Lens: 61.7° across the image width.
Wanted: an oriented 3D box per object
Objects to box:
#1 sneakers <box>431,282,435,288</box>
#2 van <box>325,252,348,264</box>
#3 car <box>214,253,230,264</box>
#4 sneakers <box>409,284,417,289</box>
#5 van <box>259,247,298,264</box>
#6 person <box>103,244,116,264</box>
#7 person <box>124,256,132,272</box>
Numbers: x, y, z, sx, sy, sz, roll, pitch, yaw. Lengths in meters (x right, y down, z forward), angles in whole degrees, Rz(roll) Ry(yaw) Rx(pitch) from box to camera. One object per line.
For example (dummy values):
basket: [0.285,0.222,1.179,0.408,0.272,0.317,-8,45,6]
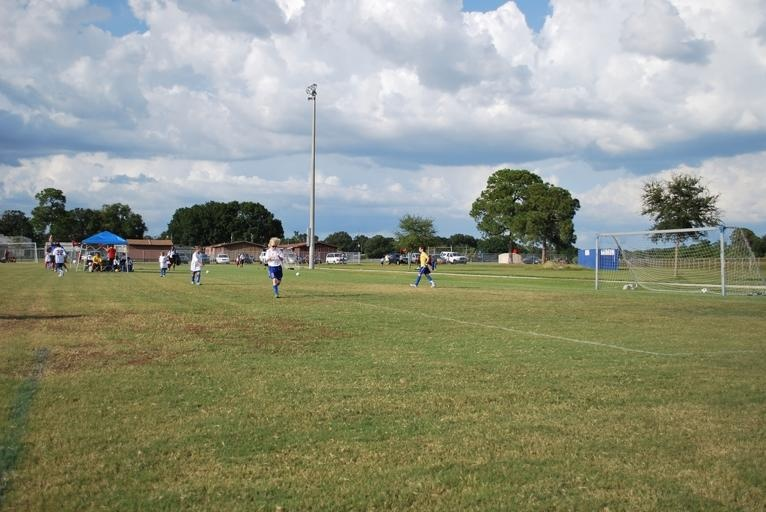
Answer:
sneakers: [2.188,1.285,28.388,0.128,0.287,0.301,-10,-14,36]
van: [-6.526,0.323,89.564,1.678,1.347,2.740,0,-3,-42]
car: [-21.522,0.157,86.724,1.828,1.584,3.140,0,-4,-23]
sneakers: [1.308,1.335,28.594,0.290,0.126,0.110,19,-13,36]
van: [-7.851,-0.039,48.889,1.825,1.219,2.692,2,0,38]
person: [-17.814,0.095,42.120,0.448,1.357,1.629,2,-2,-26]
person: [-17.252,0.550,42.963,0.666,0.892,0.872,5,-9,-10]
